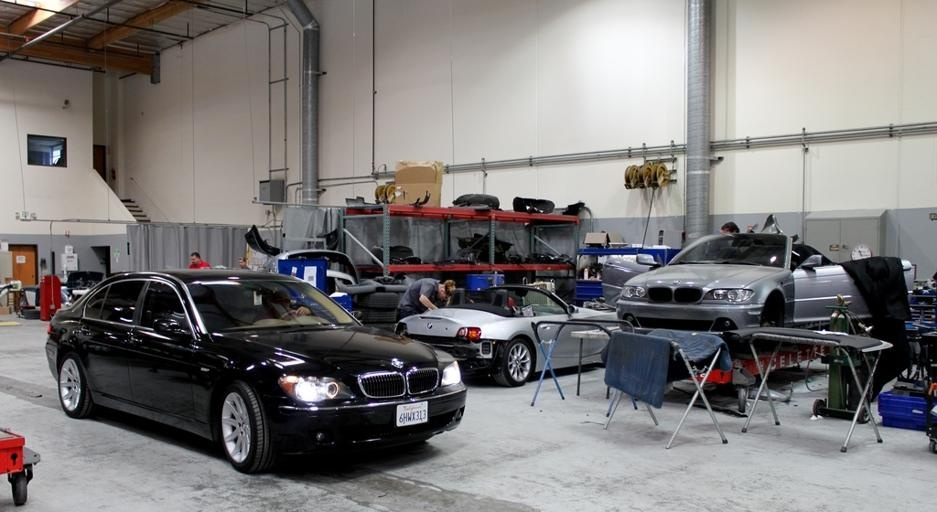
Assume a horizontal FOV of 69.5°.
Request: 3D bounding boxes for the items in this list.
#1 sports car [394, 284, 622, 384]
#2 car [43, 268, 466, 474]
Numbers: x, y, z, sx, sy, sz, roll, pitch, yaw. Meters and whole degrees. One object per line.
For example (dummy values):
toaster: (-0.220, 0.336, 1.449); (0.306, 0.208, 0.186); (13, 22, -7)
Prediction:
sports car: (0.978, 1.588, 13.510); (2.856, 1.717, 6.009); (-1, -2, 43)
car: (-4.028, 1.638, 10.818); (6.443, 1.712, 2.806); (0, -3, 35)
